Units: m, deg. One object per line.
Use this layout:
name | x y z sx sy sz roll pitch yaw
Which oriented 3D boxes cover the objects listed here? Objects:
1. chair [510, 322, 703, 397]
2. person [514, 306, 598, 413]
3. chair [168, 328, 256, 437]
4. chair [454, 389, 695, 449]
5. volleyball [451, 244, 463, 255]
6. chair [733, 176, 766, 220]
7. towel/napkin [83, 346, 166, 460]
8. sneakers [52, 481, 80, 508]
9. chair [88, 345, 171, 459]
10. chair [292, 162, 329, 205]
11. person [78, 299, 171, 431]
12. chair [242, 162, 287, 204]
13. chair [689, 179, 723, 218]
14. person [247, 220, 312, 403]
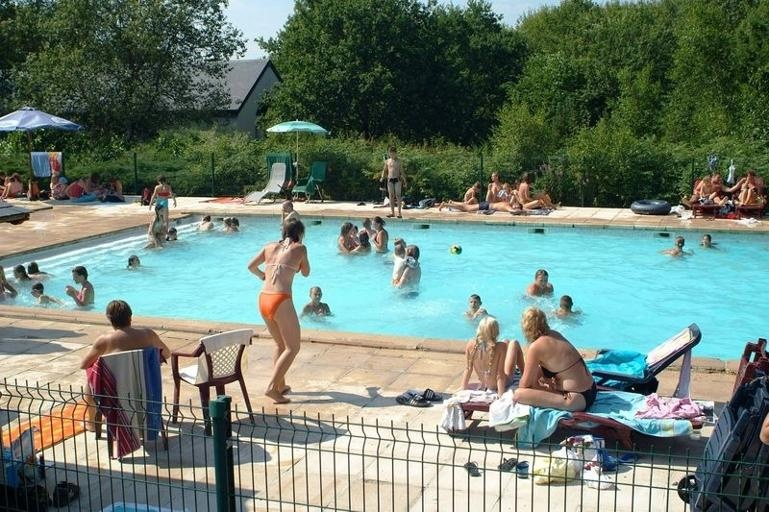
chair | 3.540 1.540 10.107 1.503 0.959 1.014 -2 5 20
person | 2.194 1.328 9.547 1.071 1.290 1.337 0 8 22
chair | -2.310 1.594 9.763 1.000 1.225 0.936 -7 8 -41
chair | 2.616 2.113 9.234 2.280 0.589 0.691 2 6 0
volleyball | 1.932 -0.208 19.634 0.256 0.254 0.252 6 -30 -7
chair | 11.143 -1.811 22.247 1.197 1.653 1.354 2 10 31
towel/napkin | -3.179 1.793 8.874 1.101 1.395 1.049 -6 16 -32
sneakers | -3.594 2.689 8.191 0.190 0.270 0.279 8 -6 -3
chair | -3.293 1.767 9.274 1.043 1.280 1.097 3 6 11
chair | -2.975 -2.846 28.354 1.515 1.933 1.510 -7 11 -43
person | -3.451 1.488 9.597 1.094 1.745 1.010 -11 37 -23
chair | -4.465 -2.703 27.274 0.707 1.364 2.046 2 13 26
chair | 10.107 -1.866 22.960 0.810 0.961 1.361 5 20 12
person | -1.439 0.747 10.182 0.684 2.504 0.649 1 7 -9
